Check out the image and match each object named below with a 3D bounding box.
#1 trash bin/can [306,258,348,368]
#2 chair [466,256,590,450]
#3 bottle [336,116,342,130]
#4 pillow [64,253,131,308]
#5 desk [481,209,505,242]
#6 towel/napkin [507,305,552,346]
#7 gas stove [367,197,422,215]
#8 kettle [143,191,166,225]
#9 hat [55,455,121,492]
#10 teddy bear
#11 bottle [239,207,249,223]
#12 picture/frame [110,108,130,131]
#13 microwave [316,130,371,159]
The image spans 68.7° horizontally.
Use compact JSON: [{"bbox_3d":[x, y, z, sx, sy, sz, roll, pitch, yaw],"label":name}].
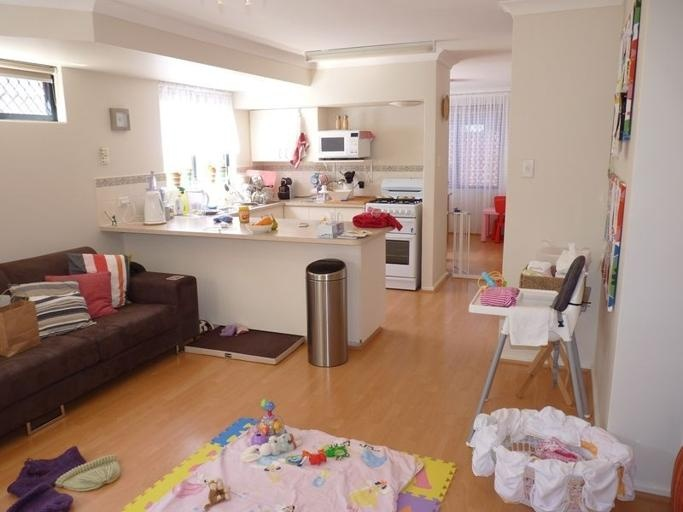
[{"bbox_3d":[-0.135,0.501,4.312,0.364,0.876,0.243,-3,13,-3],"label":"trash bin/can"},{"bbox_3d":[1.286,0.524,3.977,1.101,1.742,1.142,2,8,19],"label":"chair"},{"bbox_3d":[-0.050,-1.862,6.958,0.079,0.188,0.240,-3,13,0],"label":"bottle"},{"bbox_3d":[-2.139,0.215,4.327,0.402,0.466,0.174,-6,-4,-10],"label":"pillow"},{"bbox_3d":[2.860,-0.632,9.797,0.583,0.618,0.597,3,12,17],"label":"desk"},{"bbox_3d":[1.178,0.429,3.135,0.230,0.247,0.085,4,-4,12],"label":"towel/napkin"},{"bbox_3d":[0.650,-0.611,6.305,0.671,0.194,0.423,4,15,28],"label":"gas stove"},{"bbox_3d":[-1.949,-0.495,5.132,0.213,0.335,0.168,-4,13,-7],"label":"kettle"},{"bbox_3d":[-1.528,1.328,3.026,0.359,0.078,0.210,-11,15,-33],"label":"hat"},{"bbox_3d":[-0.479,1.068,3.299,0.342,0.336,0.410,-4,13,-7],"label":"teddy bear"},{"bbox_3d":[-0.963,-0.400,4.915,0.095,0.167,0.195,-6,13,-13],"label":"bottle"},{"bbox_3d":[-2.217,-1.357,4.962,0.026,0.206,0.230,1,9,18],"label":"picture/frame"},{"bbox_3d":[0.098,-1.516,6.838,0.840,0.402,0.380,-12,16,-34],"label":"microwave"}]
